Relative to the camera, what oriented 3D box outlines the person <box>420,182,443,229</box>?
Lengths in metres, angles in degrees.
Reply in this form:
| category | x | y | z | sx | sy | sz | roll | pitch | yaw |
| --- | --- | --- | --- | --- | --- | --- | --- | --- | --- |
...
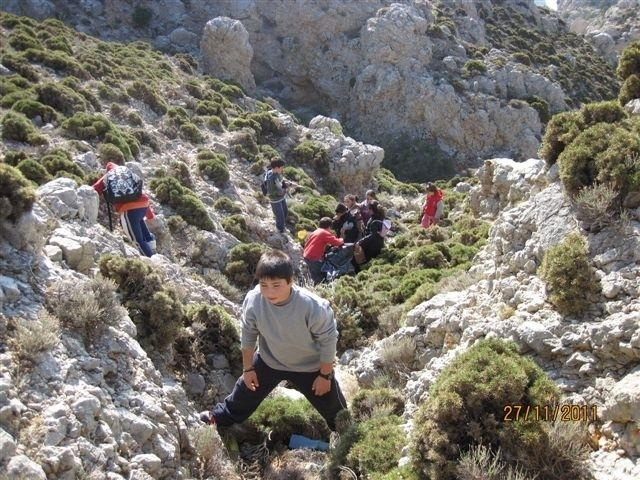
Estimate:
| category | x | y | z | sx | sy | sz | roll | pitch | yaw |
| --- | --- | --- | --- | --- | --- | --- | --- | --- | --- |
| person | 6.525 | -2.064 | 72.540 | 1.142 | 2.335 | 1.121 | 3 | 21 | 5 |

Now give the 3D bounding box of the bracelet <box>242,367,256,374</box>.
| category | x | y | z | sx | sy | sz | roll | pitch | yaw |
| --- | --- | --- | --- | --- | --- | --- | --- | --- | --- |
| bracelet | -3.551 | 6.621 | 64.509 | 0.348 | 0.119 | 0.351 | -21 | 1 | 39 |
